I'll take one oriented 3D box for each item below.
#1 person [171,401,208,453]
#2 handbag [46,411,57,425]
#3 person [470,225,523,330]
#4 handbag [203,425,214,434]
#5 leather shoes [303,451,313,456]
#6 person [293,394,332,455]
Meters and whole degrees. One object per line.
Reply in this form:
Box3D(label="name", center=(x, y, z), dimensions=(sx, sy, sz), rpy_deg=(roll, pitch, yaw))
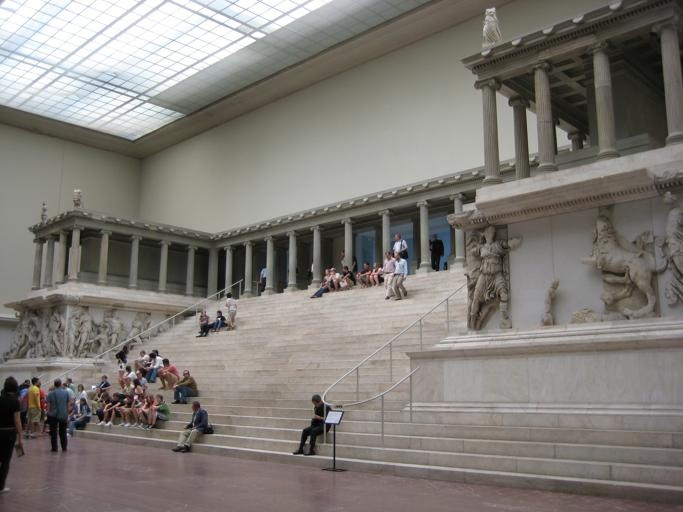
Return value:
Box3D(label="person", center=(-3.839, 4.297, 15.070), dimensions=(0.452, 1.239, 0.939), rpy_deg=(-2, 0, 40))
Box3D(label="handbag", center=(-7.395, 4.132, 14.974), dimensions=(0.302, 0.363, 0.163), rpy_deg=(-2, 0, 7))
Box3D(label="person", center=(3.536, 0.496, 13.711), dimensions=(1.176, 2.435, 0.563), rpy_deg=(-2, 0, 22))
Box3D(label="handbag", center=(-3.451, 4.464, 15.257), dimensions=(0.226, 0.241, 0.172), rpy_deg=(7, -3, 3))
Box3D(label="leather shoes", center=(-0.719, 4.297, 12.939), dimensions=(0.212, 0.095, 0.184), rpy_deg=(-2, 0, 5))
Box3D(label="person", center=(-0.654, 3.722, 13.196), dimensions=(0.794, 1.302, 0.629), rpy_deg=(-2, 0, -5))
